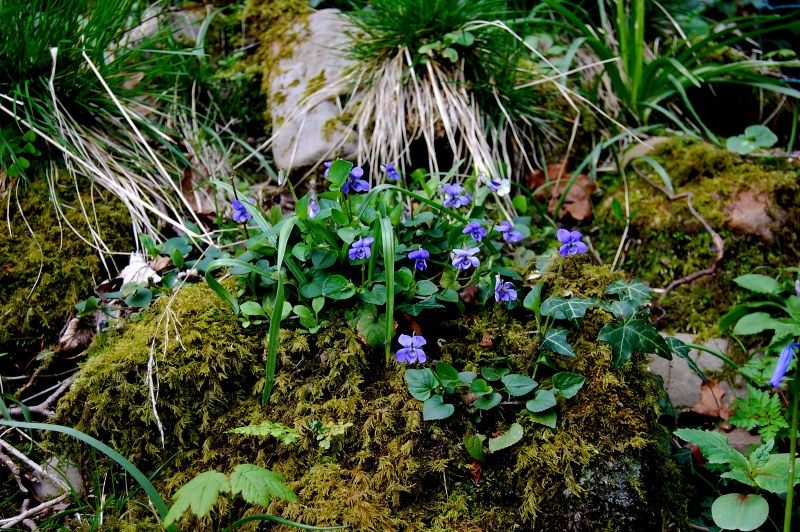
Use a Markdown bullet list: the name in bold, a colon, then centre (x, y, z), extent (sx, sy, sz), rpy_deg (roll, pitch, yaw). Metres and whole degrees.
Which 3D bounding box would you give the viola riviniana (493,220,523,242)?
- **viola riviniana**: centre (0.640, -0.171, 4.035), extent (0.136, 0.056, 0.142), rpy_deg (36, 52, -1)

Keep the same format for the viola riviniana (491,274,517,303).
- **viola riviniana**: centre (0.613, 0.147, 3.925), extent (0.131, 0.248, 0.112), rpy_deg (-3, 48, 17)

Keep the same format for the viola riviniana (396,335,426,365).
- **viola riviniana**: centre (0.065, 0.452, 3.733), extent (0.162, 0.202, 0.140), rpy_deg (-9, 47, 12)

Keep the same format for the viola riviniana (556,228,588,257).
- **viola riviniana**: centre (0.984, -0.135, 3.873), extent (0.141, 0.186, 0.100), rpy_deg (-8, 47, 13)

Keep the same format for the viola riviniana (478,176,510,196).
- **viola riviniana**: centre (0.576, -0.515, 4.096), extent (0.208, 0.070, 0.113), rpy_deg (37, 102, 44)
